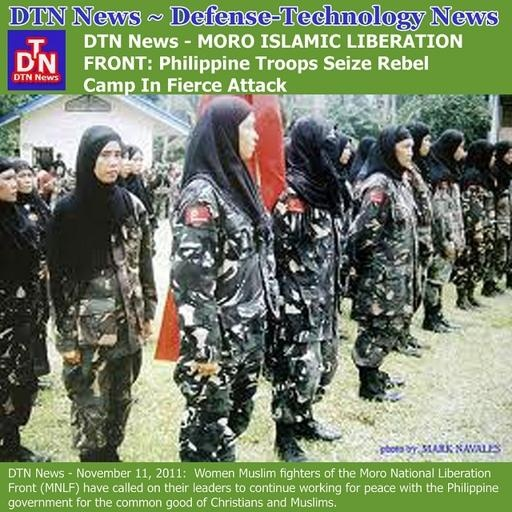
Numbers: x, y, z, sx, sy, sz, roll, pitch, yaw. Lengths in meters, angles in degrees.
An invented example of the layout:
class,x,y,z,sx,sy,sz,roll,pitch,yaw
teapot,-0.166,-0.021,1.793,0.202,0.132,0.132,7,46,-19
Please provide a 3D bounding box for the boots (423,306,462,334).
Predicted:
class,x,y,z,sx,sy,sz,roll,pitch,yaw
boots,1.294,0.454,4.123,0.213,0.143,0.151,-3,-3,9

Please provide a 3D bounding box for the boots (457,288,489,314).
class,x,y,z,sx,sy,sz,roll,pitch,yaw
boots,1.567,0.327,4.275,0.158,0.144,0.154,0,-5,-25

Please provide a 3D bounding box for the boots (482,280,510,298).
class,x,y,z,sx,sy,sz,roll,pitch,yaw
boots,1.706,0.245,4.268,0.233,0.155,0.079,-4,-3,-7

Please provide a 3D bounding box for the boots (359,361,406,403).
class,x,y,z,sx,sy,sz,roll,pitch,yaw
boots,0.773,0.846,3.903,0.381,0.264,0.136,-1,2,-7

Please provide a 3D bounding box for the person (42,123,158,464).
class,x,y,z,sx,sy,sz,roll,pitch,yaw
person,-0.897,0.273,3.488,0.613,2.016,0.206,-3,10,-21
